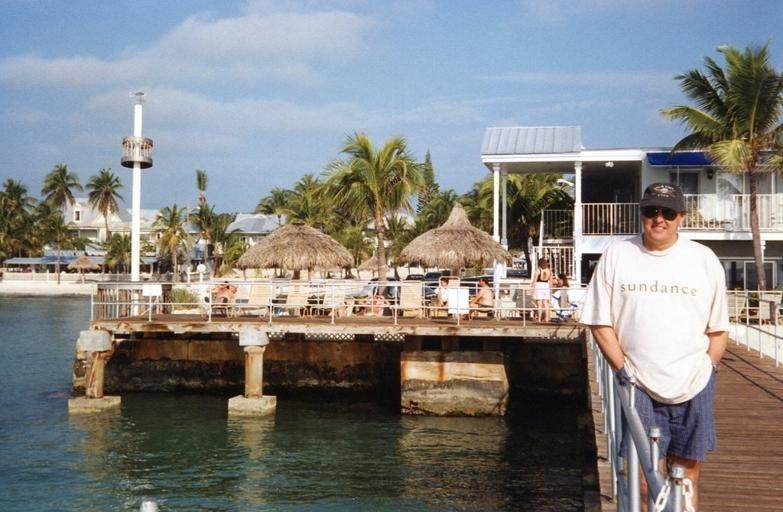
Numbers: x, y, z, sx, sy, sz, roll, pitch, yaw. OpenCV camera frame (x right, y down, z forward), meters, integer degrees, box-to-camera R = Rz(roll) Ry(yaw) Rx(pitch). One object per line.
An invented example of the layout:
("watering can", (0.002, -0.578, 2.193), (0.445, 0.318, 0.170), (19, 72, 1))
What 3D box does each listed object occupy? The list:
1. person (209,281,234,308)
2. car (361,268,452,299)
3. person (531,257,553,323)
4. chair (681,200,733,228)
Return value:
("person", (-6.200, 1.494, 47.293), (0.887, 1.086, 0.459), (6, 8, 1))
("car", (1.483, 1.232, 61.531), (1.537, 1.133, 3.423), (-3, -7, 33))
("person", (5.147, 1.192, 44.518), (0.671, 2.217, 1.442), (-1, -3, 7))
("chair", (11.532, -1.524, 47.110), (1.286, 0.871, 0.690), (0, -4, 2))
